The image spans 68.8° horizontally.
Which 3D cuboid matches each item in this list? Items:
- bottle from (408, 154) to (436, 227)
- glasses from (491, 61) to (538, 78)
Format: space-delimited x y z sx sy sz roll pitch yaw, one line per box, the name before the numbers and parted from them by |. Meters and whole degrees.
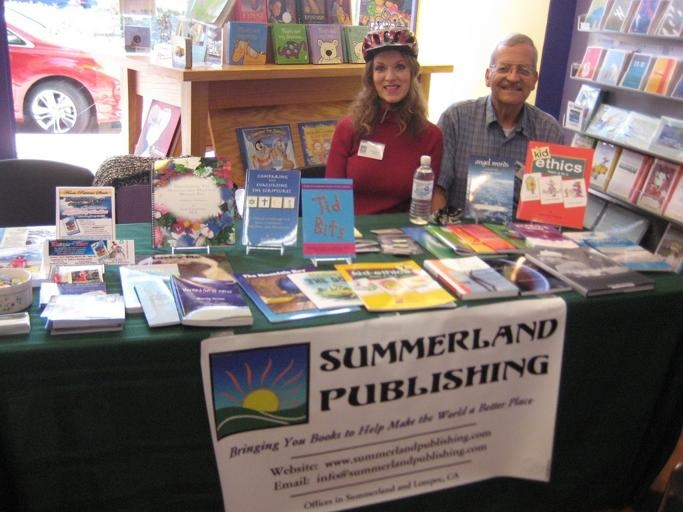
bottle | 0.421 -0.360 2.591 0.114 0.345 0.273 4 21 9
glasses | 0.966 -1.041 2.806 0.252 0.065 0.117 5 21 13
